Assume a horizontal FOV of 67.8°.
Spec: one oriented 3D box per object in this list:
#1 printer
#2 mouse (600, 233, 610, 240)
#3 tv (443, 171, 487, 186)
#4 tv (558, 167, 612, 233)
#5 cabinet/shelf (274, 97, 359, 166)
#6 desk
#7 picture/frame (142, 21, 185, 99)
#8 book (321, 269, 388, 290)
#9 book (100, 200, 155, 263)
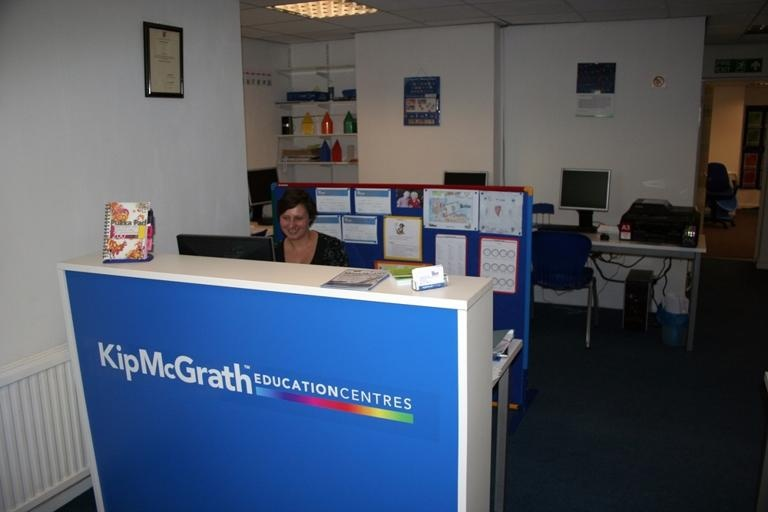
[{"bbox_3d":[2.790,-0.316,5.756,0.558,0.289,0.554,6,11,31],"label":"printer"},{"bbox_3d":[2.319,-0.201,6.005,0.080,0.055,0.079,-9,14,-39],"label":"mouse"},{"bbox_3d":[0.888,-0.889,6.514,0.526,0.131,0.250,6,14,29],"label":"tv"},{"bbox_3d":[2.231,-0.632,6.308,0.698,0.909,0.291,3,10,27],"label":"tv"},{"bbox_3d":[-0.868,-1.623,7.445,0.928,0.709,0.305,1,6,13],"label":"cabinet/shelf"},{"bbox_3d":[2.763,0.422,6.185,1.228,1.105,0.993,3,1,19],"label":"desk"},{"bbox_3d":[-1.603,-1.408,4.139,0.046,0.506,0.321,8,14,35],"label":"picture/frame"},{"bbox_3d":[-0.139,0.120,2.978,0.298,0.040,0.295,3,13,16],"label":"book"},{"bbox_3d":[-1.518,-0.141,3.373,0.283,0.334,0.169,-3,12,-14],"label":"book"}]
